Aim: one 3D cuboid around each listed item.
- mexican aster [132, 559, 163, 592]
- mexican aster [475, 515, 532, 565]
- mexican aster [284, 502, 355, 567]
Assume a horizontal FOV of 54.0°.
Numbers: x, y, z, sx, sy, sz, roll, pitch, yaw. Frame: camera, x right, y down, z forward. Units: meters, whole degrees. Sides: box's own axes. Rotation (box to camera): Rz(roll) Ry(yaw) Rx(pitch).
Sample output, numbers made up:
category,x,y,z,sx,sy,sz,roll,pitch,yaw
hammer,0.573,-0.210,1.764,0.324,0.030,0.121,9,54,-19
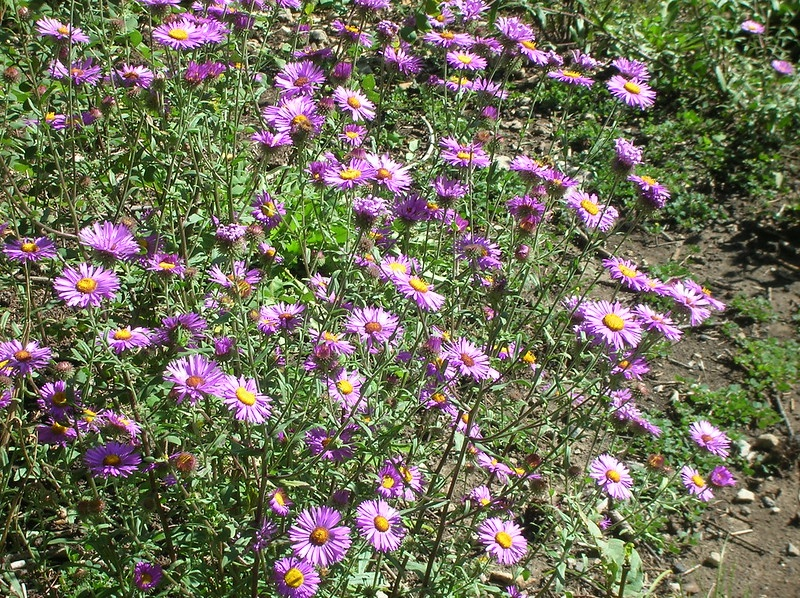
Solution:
category,x,y,z,sx,sy,sz,roll,pitch,yaw
mexican aster,-1.263,1.378,3.917,0.143,0.125,0.126,28,51,-4
mexican aster,0.524,1.249,4.027,0.233,0.049,0.239,35,46,11
mexican aster,-0.367,1.147,3.707,0.329,0.299,0.248,3,56,-22
